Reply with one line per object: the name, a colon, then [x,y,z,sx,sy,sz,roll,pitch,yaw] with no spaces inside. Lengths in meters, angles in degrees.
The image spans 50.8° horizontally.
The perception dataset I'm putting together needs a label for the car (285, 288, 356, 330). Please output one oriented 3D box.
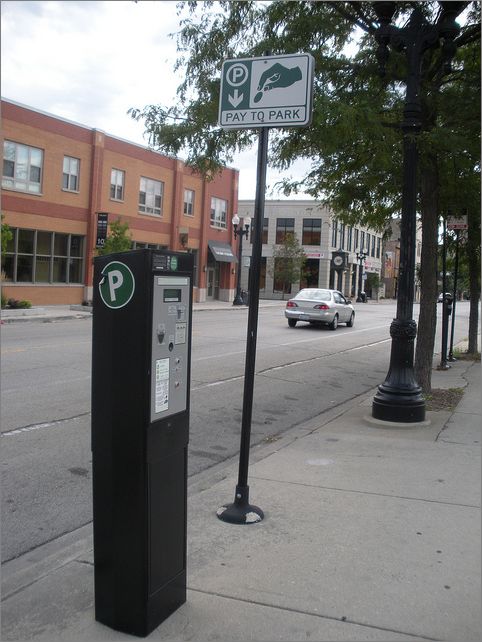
car: [3.450,-0.550,21.821,1.711,1.682,3.495,5,6,42]
